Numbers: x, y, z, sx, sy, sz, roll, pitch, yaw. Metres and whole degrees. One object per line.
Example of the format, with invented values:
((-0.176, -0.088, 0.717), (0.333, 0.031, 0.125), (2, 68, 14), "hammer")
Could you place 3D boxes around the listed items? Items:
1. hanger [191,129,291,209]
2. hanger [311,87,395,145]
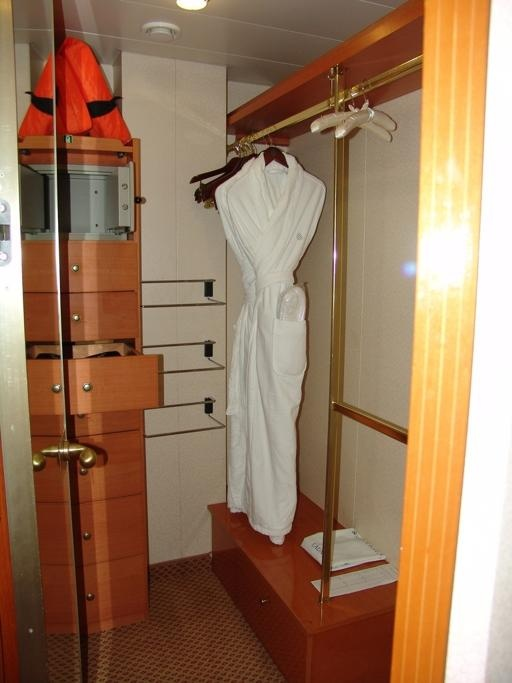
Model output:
((-0.066, -0.607, 2.105), (0.368, 0.202, 0.031), (-13, -18, -6), "hanger")
((0.249, -0.516, 1.396), (0.191, 0.075, 0.141), (-17, 31, -31), "hanger")
